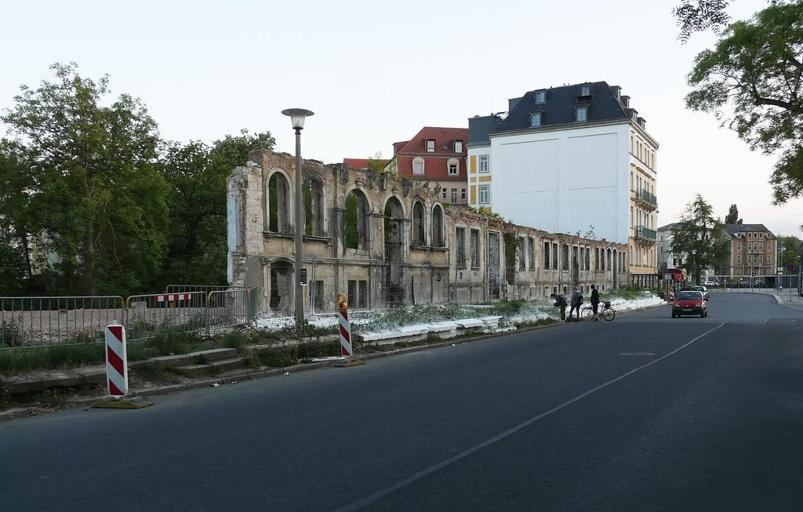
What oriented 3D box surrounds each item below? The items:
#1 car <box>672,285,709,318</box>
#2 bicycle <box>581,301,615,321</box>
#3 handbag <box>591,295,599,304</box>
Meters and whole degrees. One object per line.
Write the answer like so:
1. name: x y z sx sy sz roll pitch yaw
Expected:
1. car: 17.355 2.886 42.513 1.670 1.492 2.533 3 7 30
2. bicycle: 11.473 3.191 41.183 2.121 1.320 1.101 -1 0 14
3. handbag: 10.857 2.369 39.721 0.339 0.702 0.771 1 6 12
